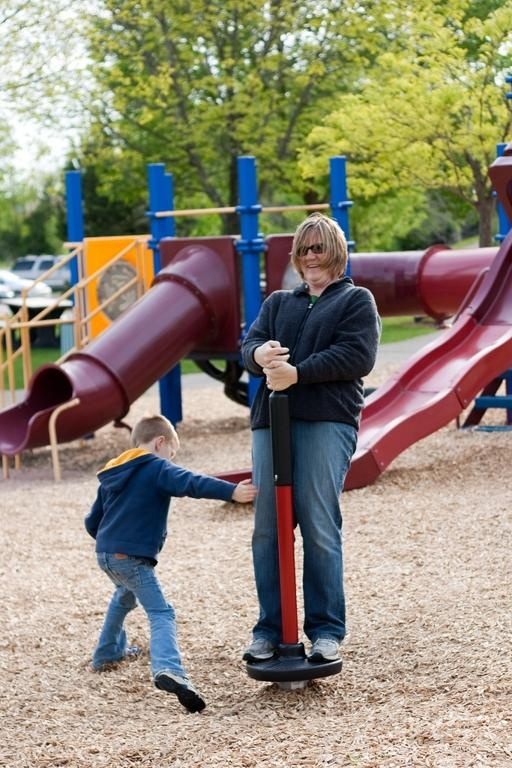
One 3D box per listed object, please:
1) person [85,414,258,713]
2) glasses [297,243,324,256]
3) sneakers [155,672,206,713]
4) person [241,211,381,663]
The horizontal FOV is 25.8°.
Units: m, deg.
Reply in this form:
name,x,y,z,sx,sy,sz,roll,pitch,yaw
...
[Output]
name,x,y,z,sx,sy,sz,roll,pitch,yaw
person,-0.356,0.777,4.700,0.508,1.158,0.961,-3,8,-40
glasses,0.177,-0.459,3.804,0.102,0.042,0.020,0,10,40
sneakers,-0.266,1.043,3.792,0.058,0.158,0.073,-41,18,18
person,0.175,0.209,3.853,0.561,1.567,0.516,-5,8,7
